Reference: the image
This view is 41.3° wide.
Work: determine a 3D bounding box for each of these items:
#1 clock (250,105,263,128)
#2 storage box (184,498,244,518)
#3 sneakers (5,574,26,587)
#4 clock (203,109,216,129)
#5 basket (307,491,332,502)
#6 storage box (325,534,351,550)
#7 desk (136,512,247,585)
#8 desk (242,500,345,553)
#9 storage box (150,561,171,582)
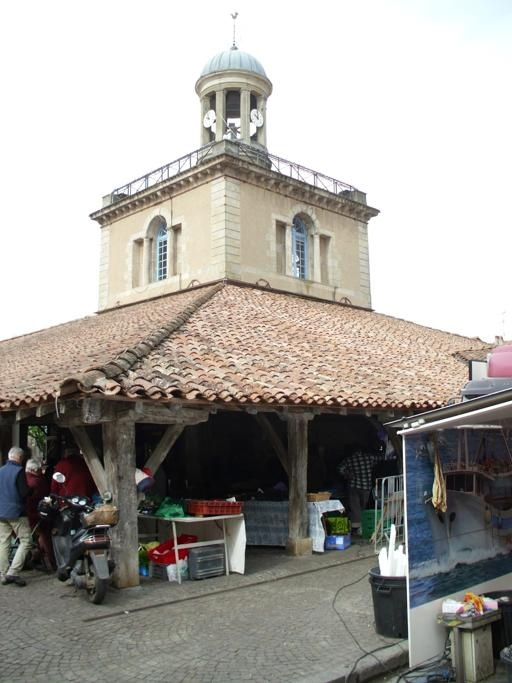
[{"bbox_3d":[-0.038,-7.606,23.045,0.563,0.645,0.237,6,-10,-39],"label":"clock"},{"bbox_3d":[-0.563,2.253,9.160,0.749,0.205,0.580,0,-8,-7],"label":"storage box"},{"bbox_3d":[-3.021,3.001,8.535,0.239,0.142,0.222,2,-8,-20],"label":"sneakers"},{"bbox_3d":[-1.535,-7.569,23.065,0.473,0.727,0.290,-7,-11,40],"label":"clock"},{"bbox_3d":[1.027,2.521,11.016,0.300,0.124,0.492,-7,-10,40],"label":"basket"},{"bbox_3d":[1.369,3.290,11.119,0.492,0.215,0.389,2,-8,-17],"label":"storage box"},{"bbox_3d":[-1.100,2.827,9.826,1.310,0.825,2.438,5,-9,-33],"label":"desk"},{"bbox_3d":[0.572,2.892,11.527,1.292,0.594,1.067,-8,-14,33],"label":"desk"},{"bbox_3d":[-1.293,3.069,9.059,0.235,0.198,0.314,-1,-7,26],"label":"storage box"}]
